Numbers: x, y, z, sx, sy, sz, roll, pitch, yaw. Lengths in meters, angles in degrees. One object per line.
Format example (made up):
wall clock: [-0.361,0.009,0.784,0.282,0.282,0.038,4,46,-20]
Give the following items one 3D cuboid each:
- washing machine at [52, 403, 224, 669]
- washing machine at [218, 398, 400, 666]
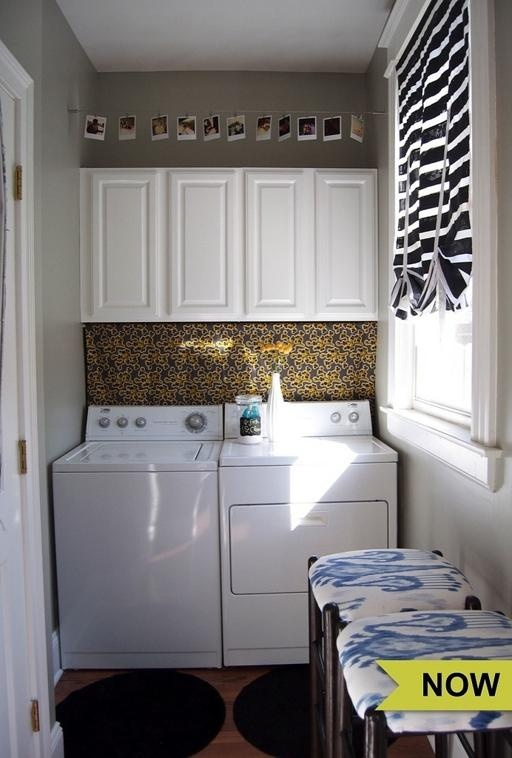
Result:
washing machine: [-0.457,0.613,2.438,0.661,0.932,0.692,-1,4,11]
washing machine: [0.195,0.626,2.419,0.663,1.015,0.521,0,5,0]
